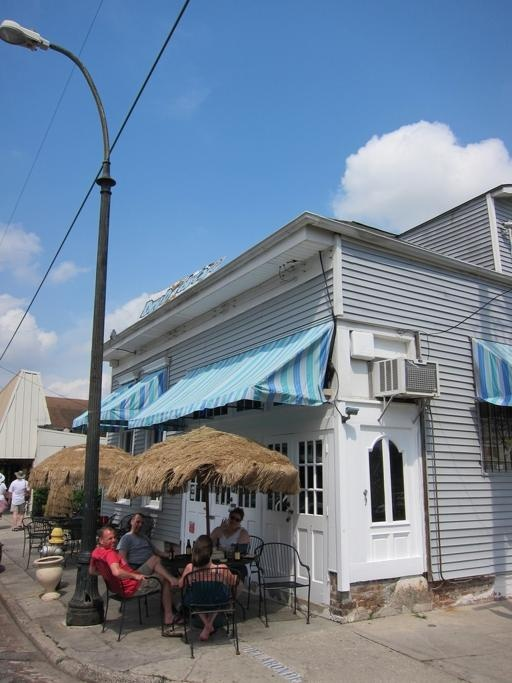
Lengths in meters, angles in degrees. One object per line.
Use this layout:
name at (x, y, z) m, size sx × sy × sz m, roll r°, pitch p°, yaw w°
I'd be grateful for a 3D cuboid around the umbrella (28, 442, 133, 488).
umbrella at (-3.185, 2.314, 11.073) m, size 1.813 × 0.590 × 1.705 m, roll 4°, pitch -13°, yaw -27°

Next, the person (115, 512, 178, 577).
person at (-1.292, 2.523, 7.241) m, size 0.815 × 0.866 × 0.604 m, roll -2°, pitch -5°, yaw 22°

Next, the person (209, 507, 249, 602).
person at (-0.376, 2.824, 7.937) m, size 0.468 × 1.228 × 0.387 m, roll 3°, pitch 12°, yaw 6°

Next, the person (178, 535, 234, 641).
person at (-0.492, 2.579, 6.282) m, size 0.560 × 1.056 × 0.548 m, roll 0°, pitch -4°, yaw 10°

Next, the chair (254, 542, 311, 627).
chair at (0.332, 3.134, 7.830) m, size 0.669 × 0.947 × 0.647 m, roll -1°, pitch -16°, yaw -1°

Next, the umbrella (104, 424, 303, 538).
umbrella at (-0.579, 1.572, 6.849) m, size 1.312 × 0.866 × 1.286 m, roll 5°, pitch -19°, yaw -16°

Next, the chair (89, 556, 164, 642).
chair at (-1.410, 2.767, 6.602) m, size 0.595 × 0.831 × 0.682 m, roll -15°, pitch -14°, yaw 38°

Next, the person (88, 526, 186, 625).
person at (-1.266, 2.569, 6.568) m, size 1.040 × 1.101 × 0.654 m, roll -3°, pitch -14°, yaw -19°

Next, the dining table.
dining table at (-0.489, 2.585, 6.306) m, size 0.672 × 1.028 × 0.674 m, roll 1°, pitch -5°, yaw -23°
